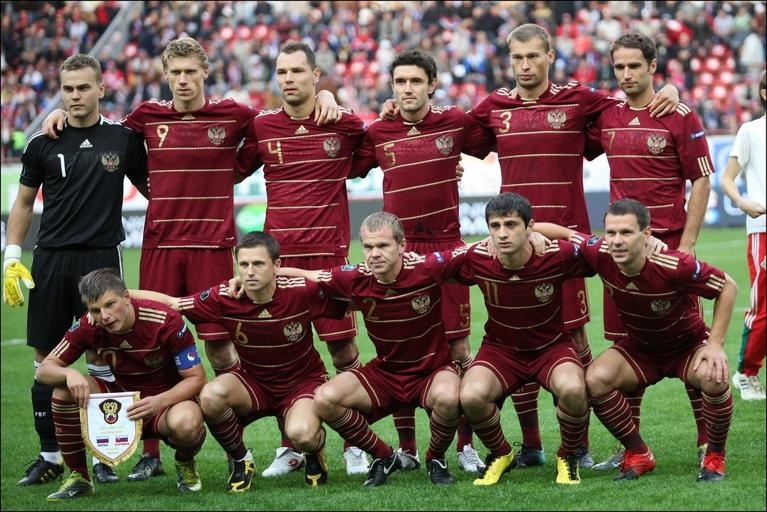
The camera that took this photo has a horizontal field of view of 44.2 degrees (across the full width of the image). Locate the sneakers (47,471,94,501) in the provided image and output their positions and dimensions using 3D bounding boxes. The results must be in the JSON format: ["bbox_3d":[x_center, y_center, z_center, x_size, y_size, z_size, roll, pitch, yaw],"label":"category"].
[{"bbox_3d":[-2.483,1.840,7.637,0.439,0.212,0.147,-1,0,-28],"label":"sneakers"}]

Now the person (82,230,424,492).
[{"bbox_3d":[-1.076,0.850,7.740,1.959,1.542,0.745,-1,-2,6],"label":"person"}]

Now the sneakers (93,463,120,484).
[{"bbox_3d":[-2.341,1.795,7.937,0.308,0.131,0.115,5,4,44],"label":"sneakers"}]

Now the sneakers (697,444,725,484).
[{"bbox_3d":[2.557,1.615,7.365,0.171,0.164,0.258,-3,-2,36],"label":"sneakers"}]

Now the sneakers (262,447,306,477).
[{"bbox_3d":[-0.862,1.726,7.990,0.435,0.202,0.144,-4,0,-44],"label":"sneakers"}]

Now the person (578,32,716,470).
[{"bbox_3d":[2.107,-0.014,8.008,1.223,3.750,1.117,-3,-1,36],"label":"person"}]

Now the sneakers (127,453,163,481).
[{"bbox_3d":[-1.996,1.775,7.980,0.125,0.168,0.384,-5,-12,23],"label":"sneakers"}]

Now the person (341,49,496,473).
[{"bbox_3d":[0.360,0.009,8.235,1.424,3.633,1.023,-4,1,14],"label":"person"}]

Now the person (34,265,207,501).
[{"bbox_3d":[-2.086,0.996,7.631,1.266,1.802,0.522,-2,-2,-4],"label":"person"}]
